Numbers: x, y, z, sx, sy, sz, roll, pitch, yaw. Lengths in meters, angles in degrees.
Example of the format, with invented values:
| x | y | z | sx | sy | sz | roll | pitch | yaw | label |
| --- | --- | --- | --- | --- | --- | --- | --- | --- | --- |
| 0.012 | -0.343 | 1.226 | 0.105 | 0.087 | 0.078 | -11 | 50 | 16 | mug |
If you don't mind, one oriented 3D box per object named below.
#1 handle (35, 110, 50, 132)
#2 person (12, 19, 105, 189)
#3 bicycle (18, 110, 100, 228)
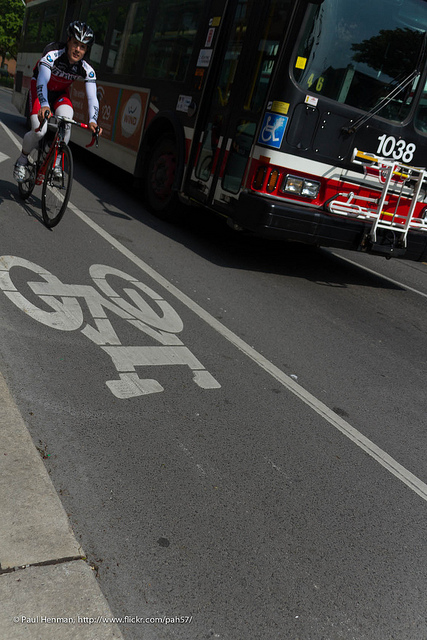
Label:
| x | y | z | sx | sy | sz | roll | pitch | yaw | label |
| --- | --- | --- | --- | --- | --- | --- | --- | --- | --- |
| -1.891 | -2.196 | 5.405 | 0.102 | 0.311 | 0.051 | 47 | 27 | 21 | handle |
| -1.795 | -2.468 | 5.786 | 0.800 | 1.989 | 1.293 | 10 | 17 | -24 | person |
| -2.008 | -1.854 | 6.006 | 0.403 | 1.296 | 1.649 | 6 | 20 | -33 | bicycle |
